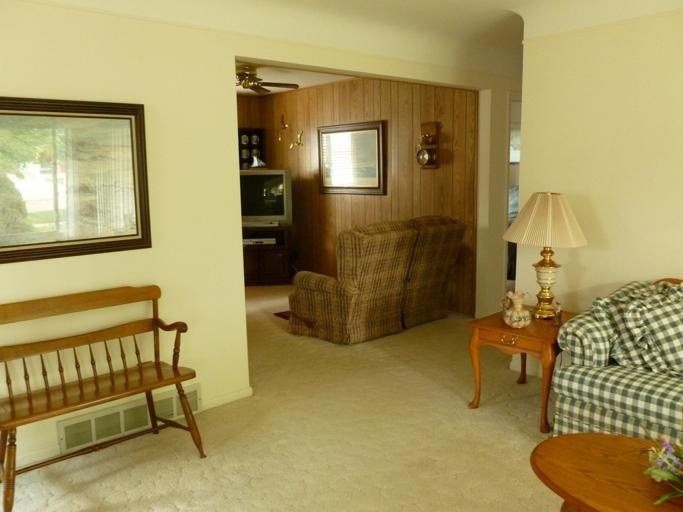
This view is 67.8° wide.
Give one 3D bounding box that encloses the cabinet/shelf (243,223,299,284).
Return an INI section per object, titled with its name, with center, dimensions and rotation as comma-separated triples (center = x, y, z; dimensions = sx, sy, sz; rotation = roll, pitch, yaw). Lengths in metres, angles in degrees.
[cabinet/shelf]
center = -1.153, 0.004, 7.676
dimensions = 1.045, 0.855, 0.374
rotation = -2, 0, 24

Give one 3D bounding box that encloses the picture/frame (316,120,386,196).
[picture/frame]
center = 0.101, -1.290, 6.811
dimensions = 0.062, 0.944, 1.418
rotation = -11, 14, -37

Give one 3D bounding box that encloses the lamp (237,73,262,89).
[lamp]
center = -1.062, -1.957, 5.681
dimensions = 0.247, 0.165, 0.348
rotation = -4, 12, -13

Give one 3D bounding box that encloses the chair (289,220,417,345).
[chair]
center = 0.161, 0.230, 5.281
dimensions = 1.266, 1.184, 1.310
rotation = -3, 7, -24

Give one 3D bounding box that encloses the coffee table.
[coffee table]
center = 1.295, 0.694, 3.708
dimensions = 0.806, 0.708, 0.814
rotation = 6, 9, 43

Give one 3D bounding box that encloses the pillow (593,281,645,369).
[pillow]
center = 1.785, 0.423, 3.149
dimensions = 0.154, 0.466, 0.402
rotation = -6, 12, 12

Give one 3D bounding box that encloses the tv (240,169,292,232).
[tv]
center = -1.371, -0.793, 7.657
dimensions = 0.924, 0.745, 0.616
rotation = -6, 0, -40
